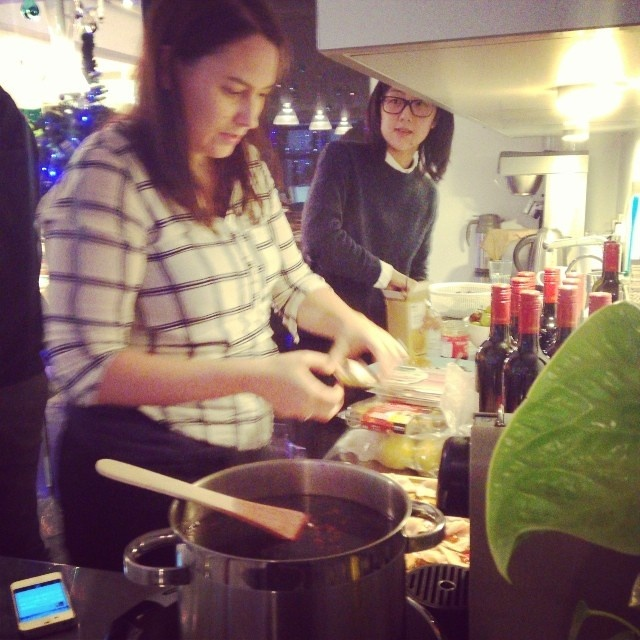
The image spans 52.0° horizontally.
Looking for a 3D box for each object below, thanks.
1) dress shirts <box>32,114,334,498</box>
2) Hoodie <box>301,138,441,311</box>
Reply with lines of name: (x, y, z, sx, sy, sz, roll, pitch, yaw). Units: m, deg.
dress shirts: (-0.308, -0.100, 1.990, 0.663, 1.091, 0.997, 11, 22, 29)
Hoodie: (0.123, -0.263, 1.744, 0.335, 0.435, 0.255, -8, 38, -33)
